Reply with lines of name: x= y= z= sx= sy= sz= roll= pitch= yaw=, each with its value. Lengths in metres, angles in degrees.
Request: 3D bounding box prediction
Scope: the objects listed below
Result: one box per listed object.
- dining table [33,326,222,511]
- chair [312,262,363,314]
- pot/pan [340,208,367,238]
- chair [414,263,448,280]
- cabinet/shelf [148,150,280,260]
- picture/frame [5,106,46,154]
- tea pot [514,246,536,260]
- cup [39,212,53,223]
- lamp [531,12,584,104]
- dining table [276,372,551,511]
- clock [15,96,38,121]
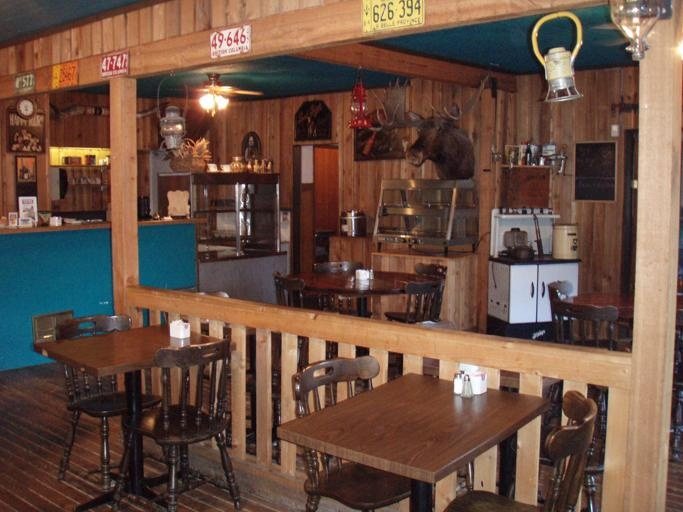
dining table: x=-1.453 y=1.093 z=4.492 sx=1.139 sy=1.071 sz=1.150 roll=6 pitch=6 yaw=41
chair: x=-0.048 y=0.326 z=6.693 sx=0.610 sy=0.575 sz=0.569 roll=0 pitch=0 yaw=-12
pot/pan: x=0.180 y=-0.482 z=9.502 sx=0.397 sy=0.397 sz=0.392 roll=-6 pitch=8 yaw=-41
chair: x=0.960 y=0.158 z=6.830 sx=0.211 sy=0.285 sz=0.201 roll=0 pitch=0 yaw=36
cabinet/shelf: x=-1.727 y=-0.664 z=8.967 sx=0.991 sy=1.624 sz=1.691 roll=7 pitch=9 yaw=41
picture/frame: x=-4.351 y=-1.727 z=8.767 sx=0.055 sy=0.658 sz=0.702 roll=3 pitch=5 yaw=29
tea pot: x=2.113 y=-0.028 z=7.381 sx=0.154 sy=0.131 sz=0.197 roll=1 pitch=-4 yaw=-23
cup: x=-3.303 y=-0.415 z=7.158 sx=0.130 sy=0.105 sz=0.128 roll=0 pitch=-2 yaw=0
lamp: x=1.165 y=-1.074 z=3.414 sx=0.277 sy=0.442 sz=0.189 roll=2 pitch=22 yaw=40
dining table: x=0.404 y=0.776 z=3.053 sx=0.683 sy=0.590 sz=0.992 roll=10 pitch=16 yaw=39
clock: x=-4.259 y=-2.009 z=8.710 sx=0.102 sy=0.283 sz=0.366 roll=1 pitch=14 yaw=13
